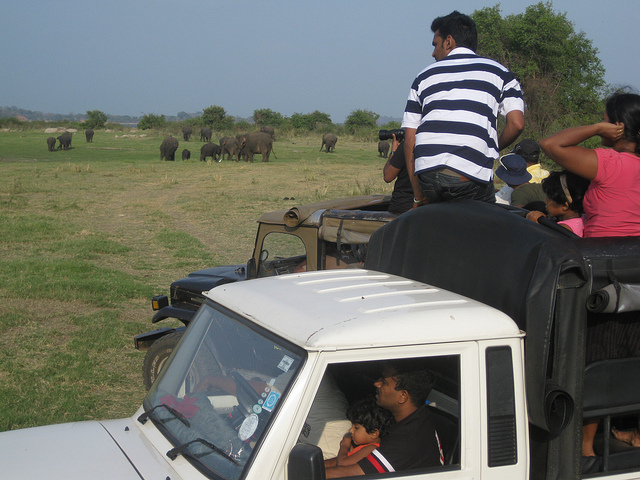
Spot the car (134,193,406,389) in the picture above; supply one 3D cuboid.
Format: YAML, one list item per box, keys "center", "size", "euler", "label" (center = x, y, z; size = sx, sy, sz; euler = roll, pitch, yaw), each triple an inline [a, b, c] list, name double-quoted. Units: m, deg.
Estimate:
- center: [-0.412, 0.399, 6.373]
  size: [3.106, 1.815, 1.711]
  euler: [7, 7, 22]
  label: "car"

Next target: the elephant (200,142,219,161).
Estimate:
- center: [-7.881, -6.279, 43.515]
  size: [1.051, 1.209, 3.209]
  euler: [4, 11, 0]
  label: "elephant"

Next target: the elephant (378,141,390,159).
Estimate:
- center: [4.933, -7.201, 47.685]
  size: [1.119, 1.361, 2.434]
  euler: [0, -2, 5]
  label: "elephant"

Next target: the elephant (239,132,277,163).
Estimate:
- center: [-4.748, -6.456, 43.304]
  size: [3.778, 2.003, 1.378]
  euler: [7, 8, 41]
  label: "elephant"

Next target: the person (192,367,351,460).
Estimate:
- center: [-0.221, 0.953, 3.366]
  size: [0.815, 0.387, 0.543]
  euler: [21, -2, -10]
  label: "person"

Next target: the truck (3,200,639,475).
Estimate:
- center: [0.130, 0.661, 3.792]
  size: [2.888, 1.650, 1.818]
  euler: [3, 4, -7]
  label: "truck"

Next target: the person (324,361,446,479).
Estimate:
- center: [0.349, 0.924, 3.493]
  size: [0.645, 0.688, 0.558]
  euler: [5, -4, 5]
  label: "person"

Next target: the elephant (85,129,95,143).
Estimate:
- center: [-22.395, -10.101, 59.398]
  size: [0.540, 1.217, 2.186]
  euler: [-1, 12, -22]
  label: "elephant"

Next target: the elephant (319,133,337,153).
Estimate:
- center: [0.658, -7.988, 50.505]
  size: [0.986, 1.419, 3.339]
  euler: [3, 11, -2]
  label: "elephant"
